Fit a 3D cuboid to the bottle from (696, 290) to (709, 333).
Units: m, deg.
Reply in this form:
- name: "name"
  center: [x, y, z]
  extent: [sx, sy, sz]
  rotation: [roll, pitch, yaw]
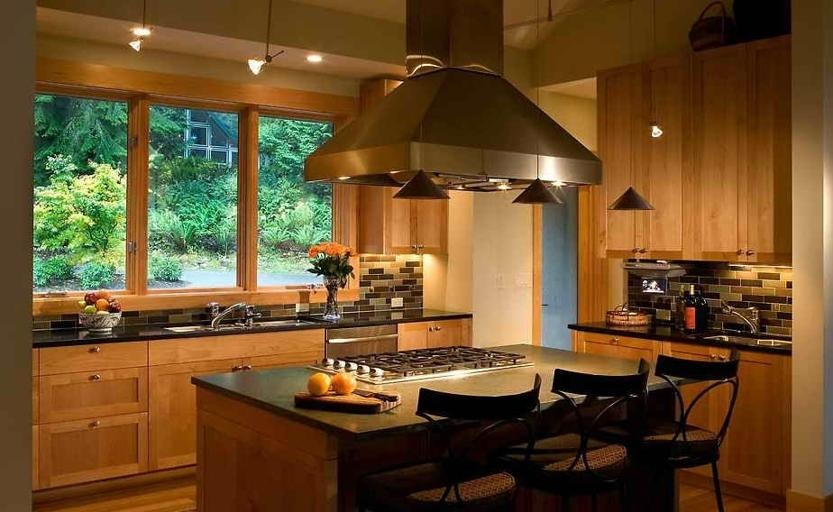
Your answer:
- name: "bottle"
  center: [2.646, 0.500, 5.789]
  extent: [0.116, 0.340, 0.293]
  rotation: [3, 4, 24]

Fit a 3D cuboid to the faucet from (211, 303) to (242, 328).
- name: "faucet"
  center: [-1.771, 0.542, 5.851]
  extent: [0.264, 0.200, 0.438]
  rotation: [1, 4, -1]

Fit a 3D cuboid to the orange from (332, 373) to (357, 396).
- name: "orange"
  center: [-0.420, 0.727, 3.591]
  extent: [0.120, 0.086, 0.123]
  rotation: [-4, 4, -31]

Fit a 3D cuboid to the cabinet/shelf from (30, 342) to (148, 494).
- name: "cabinet/shelf"
  center: [-2.545, 1.316, 5.409]
  extent: [1.100, 1.110, 0.946]
  rotation: [-5, -14, -9]

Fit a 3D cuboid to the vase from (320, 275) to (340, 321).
- name: "vase"
  center: [-0.847, 0.412, 6.249]
  extent: [0.162, 0.407, 0.384]
  rotation: [1, 4, -7]

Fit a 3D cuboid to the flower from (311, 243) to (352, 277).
- name: "flower"
  center: [-0.875, 0.053, 6.348]
  extent: [0.400, 0.363, 0.390]
  rotation: [2, -3, -10]

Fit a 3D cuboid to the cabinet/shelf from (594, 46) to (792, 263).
- name: "cabinet/shelf"
  center: [2.505, -0.877, 5.516]
  extent: [0.826, 1.922, 2.260]
  rotation: [2, -2, -40]

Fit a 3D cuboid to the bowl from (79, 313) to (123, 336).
- name: "bowl"
  center: [-2.634, 0.549, 5.215]
  extent: [0.256, 0.128, 0.237]
  rotation: [0, -5, 0]

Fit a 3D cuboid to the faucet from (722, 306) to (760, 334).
- name: "faucet"
  center: [2.904, 0.562, 5.632]
  extent: [0.115, 0.220, 0.357]
  rotation: [-2, 5, -36]

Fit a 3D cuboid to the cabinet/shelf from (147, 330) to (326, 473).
- name: "cabinet/shelf"
  center: [-1.354, 1.034, 4.389]
  extent: [1.412, 0.756, 0.471]
  rotation: [0, -2, -29]

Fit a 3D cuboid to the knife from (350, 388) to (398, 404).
- name: "knife"
  center: [-0.226, 0.791, 3.556]
  extent: [0.084, 0.023, 0.326]
  rotation: [-2, 1, -44]
